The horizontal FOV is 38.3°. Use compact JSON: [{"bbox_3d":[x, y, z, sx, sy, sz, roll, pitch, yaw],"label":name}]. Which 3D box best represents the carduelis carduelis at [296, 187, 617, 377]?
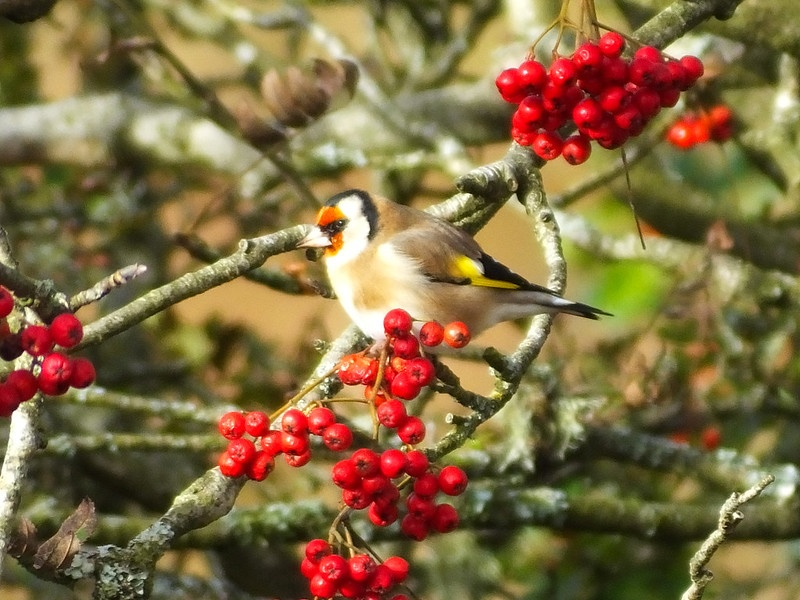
[{"bbox_3d":[0.278,-0.090,4.264,1.258,0.459,0.580,1,90,-1],"label":"carduelis carduelis"}]
